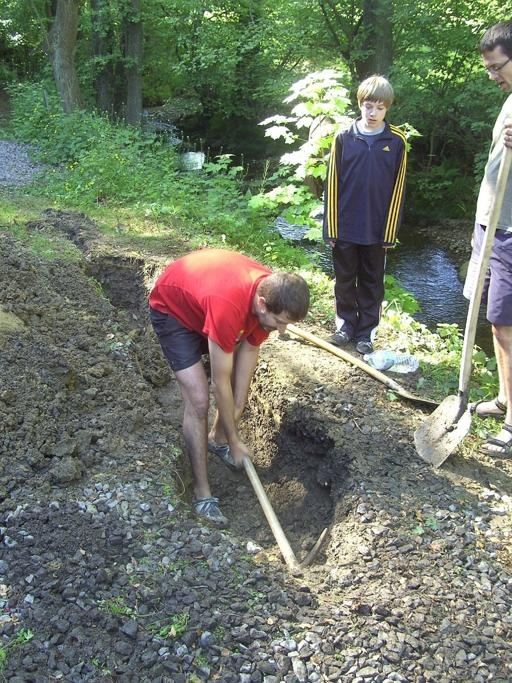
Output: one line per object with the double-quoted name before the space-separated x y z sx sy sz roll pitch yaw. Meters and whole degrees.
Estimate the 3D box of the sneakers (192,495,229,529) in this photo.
"sneakers" -0.243 0.962 3.633 0.217 0.092 0.112 33 14 31

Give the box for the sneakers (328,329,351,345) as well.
"sneakers" 0.652 -0.029 5.005 0.079 0.083 0.199 27 8 35

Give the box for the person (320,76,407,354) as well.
"person" 0.752 -0.740 4.679 0.561 1.724 0.380 5 20 3

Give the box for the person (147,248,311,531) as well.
"person" -0.191 0.330 3.491 0.582 1.616 0.956 -5 21 -22
